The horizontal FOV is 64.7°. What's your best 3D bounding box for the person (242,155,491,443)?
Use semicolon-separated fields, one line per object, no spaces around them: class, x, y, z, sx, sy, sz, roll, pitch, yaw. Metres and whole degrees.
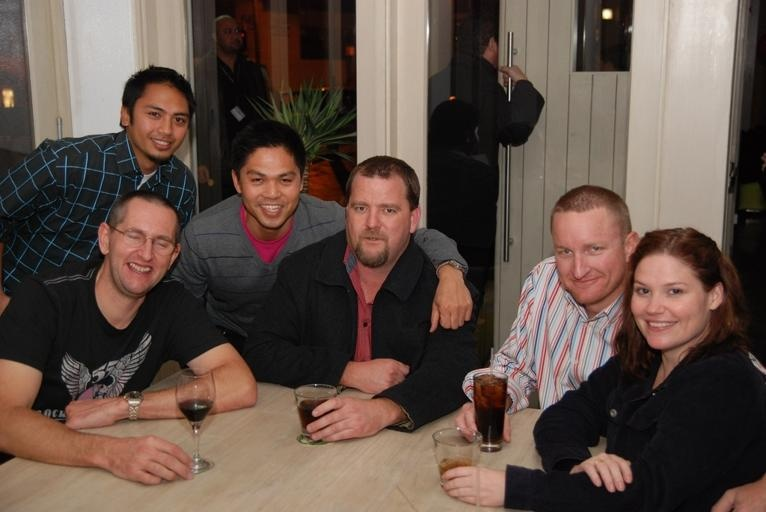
person;-0.039;0.071;2.645;0.858;0.920;1.131;5;14;11

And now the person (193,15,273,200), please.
person;-0.929;-0.840;3.884;0.475;1.378;0.421;-2;-6;-31

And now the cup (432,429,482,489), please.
cup;0.220;0.628;1.877;0.140;0.159;0.150;-2;-13;0

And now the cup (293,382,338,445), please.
cup;-0.248;0.536;2.085;0.162;0.180;0.165;2;0;0

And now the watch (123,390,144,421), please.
watch;-0.889;0.538;2.185;0.062;0.087;0.092;7;19;-11
